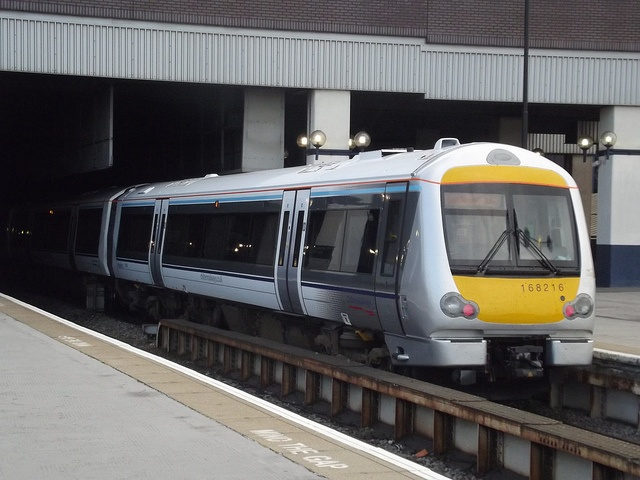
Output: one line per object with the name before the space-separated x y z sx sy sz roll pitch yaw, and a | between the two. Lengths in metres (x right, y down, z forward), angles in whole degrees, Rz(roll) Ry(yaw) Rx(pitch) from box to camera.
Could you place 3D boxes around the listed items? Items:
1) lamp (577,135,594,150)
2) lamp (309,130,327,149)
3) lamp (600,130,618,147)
lamp | 7.995 -3.014 20.804 0.372 0.433 0.592 2 -36 14
lamp | -0.008 -2.908 19.996 0.487 0.666 0.481 -1 -2 -37
lamp | 9.421 -3.336 22.587 0.430 0.397 0.754 2 1 17
